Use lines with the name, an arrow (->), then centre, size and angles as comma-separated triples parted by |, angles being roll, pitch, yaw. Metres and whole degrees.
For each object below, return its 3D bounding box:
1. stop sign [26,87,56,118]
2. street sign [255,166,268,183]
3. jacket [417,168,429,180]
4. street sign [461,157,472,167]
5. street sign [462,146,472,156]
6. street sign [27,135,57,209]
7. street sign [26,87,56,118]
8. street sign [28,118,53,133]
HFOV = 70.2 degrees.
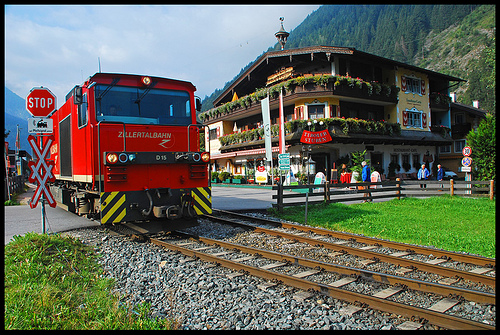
stop sign -> -7.642, -2.410, 13.042 | 0.991, 1.165, 0.130 | -6, 27, -42
street sign -> 0.873, 0.546, 30.051 | 0.418, 1.370, 1.148 | -2, 0, -35
jacket -> 14.597, 0.569, 30.419 | 0.709, 1.219, 1.107 | 2, -4, -44
street sign -> 12.541, -0.318, 20.841 | 0.355, 0.556, 0.424 | -2, 0, 20
street sign -> 12.746, -0.952, 21.159 | 0.339, 0.577, 0.638 | -2, 0, 39
street sign -> -6.703, 0.146, 11.541 | 0.832, 2.298, 0.108 | -1, 1, -12
street sign -> -7.648, -2.399, 13.042 | 0.997, 1.133, 0.129 | -7, 23, -45
street sign -> -6.809, -1.373, 11.553 | 0.511, 0.362, 0.069 | 1, -4, -34
